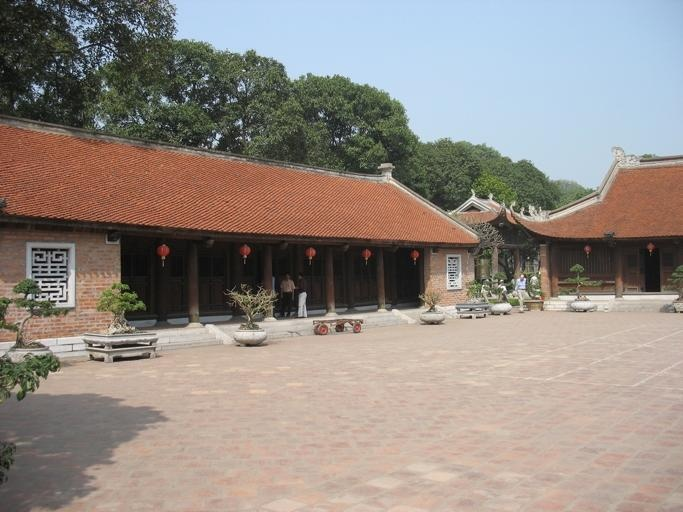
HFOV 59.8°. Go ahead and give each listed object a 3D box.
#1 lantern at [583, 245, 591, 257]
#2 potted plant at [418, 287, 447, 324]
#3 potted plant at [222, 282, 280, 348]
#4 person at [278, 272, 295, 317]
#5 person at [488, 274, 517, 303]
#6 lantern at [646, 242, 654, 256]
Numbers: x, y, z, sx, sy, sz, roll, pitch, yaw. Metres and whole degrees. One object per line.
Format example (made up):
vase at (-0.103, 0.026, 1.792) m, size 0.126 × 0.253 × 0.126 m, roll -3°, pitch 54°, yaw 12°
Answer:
lantern at (11.480, -0.298, 27.606) m, size 0.313 × 0.561 × 0.490 m, roll -1°, pitch 1°, yaw 18°
potted plant at (3.239, 1.790, 21.612) m, size 0.995 × 1.282 × 1.062 m, roll -2°, pitch -6°, yaw -2°
potted plant at (-2.546, 1.597, 16.116) m, size 1.327 × 1.436 × 1.330 m, roll -2°, pitch -4°, yaw 3°
person at (-1.806, 1.292, 20.055) m, size 0.527 × 1.443 × 1.274 m, roll -1°, pitch 1°, yaw -6°
person at (7.845, 1.570, 29.018) m, size 1.186 × 1.467 × 1.520 m, roll -2°, pitch 2°, yaw 31°
lantern at (13.890, -0.344, 26.572) m, size 0.322 × 0.606 × 0.933 m, roll -1°, pitch 1°, yaw 27°
